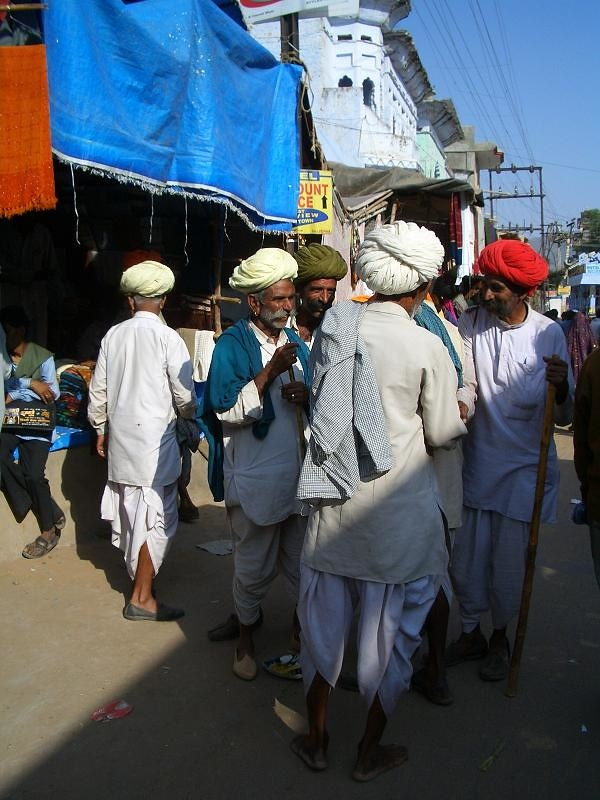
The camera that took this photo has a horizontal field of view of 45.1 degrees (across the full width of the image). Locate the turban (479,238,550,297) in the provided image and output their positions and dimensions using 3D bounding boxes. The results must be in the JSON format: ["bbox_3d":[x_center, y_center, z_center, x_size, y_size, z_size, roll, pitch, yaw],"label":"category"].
[{"bbox_3d":[0.974,-0.623,3.321,0.300,0.271,0.273,2,6,19],"label":"turban"}]

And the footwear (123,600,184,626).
[{"bbox_3d":[-0.797,1.161,3.899,0.335,0.123,0.121,2,-5,-10],"label":"footwear"}]

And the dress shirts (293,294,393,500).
[{"bbox_3d":[0.145,0.018,2.412,0.303,0.701,0.357,1,6,2],"label":"dress shirts"}]

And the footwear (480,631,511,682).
[{"bbox_3d":[0.894,1.185,3.284,0.092,0.166,0.273,-3,-10,18],"label":"footwear"}]

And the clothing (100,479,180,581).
[{"bbox_3d":[-0.904,0.706,3.970,0.428,0.495,0.307,0,6,-1],"label":"clothing"}]

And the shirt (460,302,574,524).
[{"bbox_3d":[0.971,0.103,3.386,0.635,1.005,0.612,6,16,31],"label":"shirt"}]

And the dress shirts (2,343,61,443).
[{"bbox_3d":[-1.743,-0.046,4.633,0.396,0.579,0.172,9,-17,-24],"label":"dress shirts"}]

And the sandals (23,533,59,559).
[{"bbox_3d":[-1.721,0.965,4.755,0.091,0.075,0.231,7,13,15],"label":"sandals"}]

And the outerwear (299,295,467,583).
[{"bbox_3d":[0.252,0.095,2.451,0.513,1.049,0.428,-2,28,2],"label":"outerwear"}]

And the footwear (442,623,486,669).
[{"bbox_3d":[0.742,1.193,3.431,0.268,0.181,0.101,-4,-6,-14],"label":"footwear"}]

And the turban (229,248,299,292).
[{"bbox_3d":[-0.162,-0.558,3.078,0.240,0.108,0.197,-11,23,0],"label":"turban"}]

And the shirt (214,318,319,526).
[{"bbox_3d":[-0.161,0.090,3.242,0.507,0.912,0.342,-1,3,-28],"label":"shirt"}]

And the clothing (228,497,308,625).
[{"bbox_3d":[-0.129,0.714,3.311,0.348,0.757,0.232,-8,25,-10],"label":"clothing"}]

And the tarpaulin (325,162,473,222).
[{"bbox_3d":[1.650,-4.036,13.515,2.142,0.829,2.202,2,7,26],"label":"tarpaulin"}]

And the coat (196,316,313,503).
[{"bbox_3d":[-0.182,0.059,3.273,0.310,0.795,0.581,2,4,43],"label":"coat"}]

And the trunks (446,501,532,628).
[{"bbox_3d":[0.914,0.797,3.463,0.331,0.748,0.148,8,23,21],"label":"trunks"}]

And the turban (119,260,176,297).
[{"bbox_3d":[-0.846,-0.655,3.943,0.244,0.103,0.206,-1,50,-3],"label":"turban"}]

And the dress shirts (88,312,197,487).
[{"bbox_3d":[-0.903,0.023,4.024,0.562,0.985,0.281,1,6,-3],"label":"dress shirts"}]

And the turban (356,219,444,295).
[{"bbox_3d":[0.365,-0.489,2.475,0.243,0.188,0.277,-16,10,33],"label":"turban"}]
